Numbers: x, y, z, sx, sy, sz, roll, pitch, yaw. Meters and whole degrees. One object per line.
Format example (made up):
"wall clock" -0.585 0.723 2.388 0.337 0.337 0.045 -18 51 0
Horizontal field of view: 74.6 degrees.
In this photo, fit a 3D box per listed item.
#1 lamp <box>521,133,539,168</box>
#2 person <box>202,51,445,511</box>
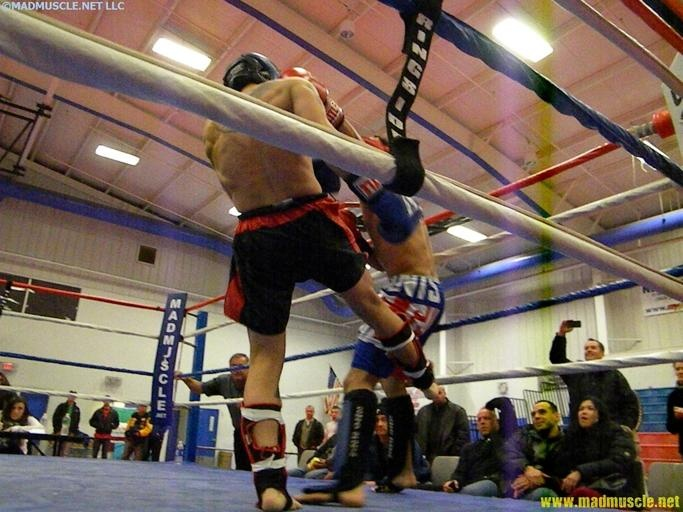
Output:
"lamp" 3.433 -1.863 8.131 0.223 0.349 0.726 -7 -17 16
"person" -0.100 0.102 1.457 0.746 1.260 0.415 4 -20 -15
